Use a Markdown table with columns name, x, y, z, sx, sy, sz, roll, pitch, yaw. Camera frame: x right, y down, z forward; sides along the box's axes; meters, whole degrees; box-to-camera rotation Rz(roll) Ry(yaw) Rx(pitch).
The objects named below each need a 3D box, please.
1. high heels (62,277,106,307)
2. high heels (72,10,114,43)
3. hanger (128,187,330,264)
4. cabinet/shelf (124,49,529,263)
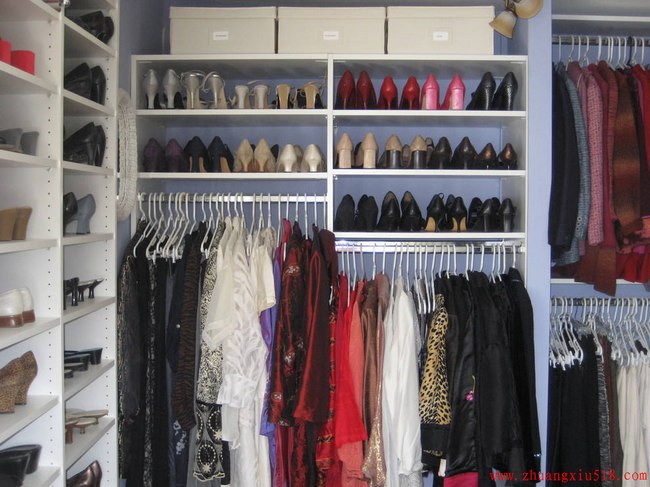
| name | x | y | z | sx | sy | sz | roll | pitch | yaw |
| --- | --- | --- | --- | --- | --- | --- | --- | --- | --- |
| high heels | -1.106 | 0.217 | 3.262 | 0.072 | 0.082 | 0.173 | -3 | 5 | 0 |
| high heels | -1.039 | -0.989 | 3.251 | 0.158 | 0.074 | 0.127 | 34 | -11 | -33 |
| hanger | -0.540 | -0.158 | 3.911 | 1.237 | 0.611 | 0.420 | -1 | 5 | 1 |
| cabinet/shelf | 0.035 | -0.437 | 4.148 | 2.114 | 0.550 | 1.670 | 3 | 44 | 4 |
